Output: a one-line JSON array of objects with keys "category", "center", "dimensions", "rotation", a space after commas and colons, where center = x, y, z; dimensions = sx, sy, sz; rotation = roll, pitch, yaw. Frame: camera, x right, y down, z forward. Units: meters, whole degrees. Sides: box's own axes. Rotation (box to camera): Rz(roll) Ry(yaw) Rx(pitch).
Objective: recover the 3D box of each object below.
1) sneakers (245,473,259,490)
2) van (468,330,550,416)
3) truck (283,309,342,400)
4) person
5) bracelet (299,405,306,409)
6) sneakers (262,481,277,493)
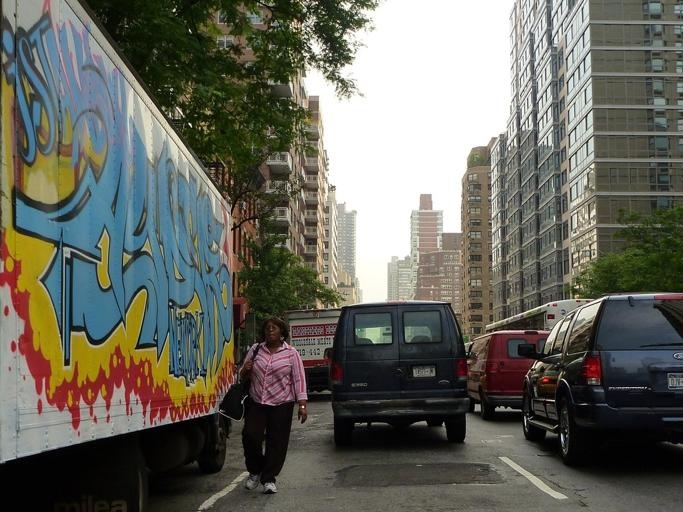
[{"category": "sneakers", "center": [-1.096, 2.753, 9.069], "dimensions": [0.148, 0.185, 0.245], "rotation": [-1, -8, -9]}, {"category": "van", "center": [4.074, 2.900, 18.827], "dimensions": [1.731, 1.821, 3.151], "rotation": [1, -6, -1]}, {"category": "truck", "center": [-1.392, 3.738, 30.335], "dimensions": [2.229, 2.595, 3.953], "rotation": [0, -5, 4]}, {"category": "person", "center": [-0.830, 1.795, 9.059], "dimensions": [0.804, 2.072, 0.581], "rotation": [-1, -7, -10]}, {"category": "bracelet", "center": [-0.471, 1.838, 9.059], "dimensions": [0.046, 0.028, 0.067], "rotation": [0, -14, -6]}, {"category": "sneakers", "center": [-0.835, 2.737, 8.800], "dimensions": [0.172, 0.137, 0.145], "rotation": [0, -8, -19]}]
